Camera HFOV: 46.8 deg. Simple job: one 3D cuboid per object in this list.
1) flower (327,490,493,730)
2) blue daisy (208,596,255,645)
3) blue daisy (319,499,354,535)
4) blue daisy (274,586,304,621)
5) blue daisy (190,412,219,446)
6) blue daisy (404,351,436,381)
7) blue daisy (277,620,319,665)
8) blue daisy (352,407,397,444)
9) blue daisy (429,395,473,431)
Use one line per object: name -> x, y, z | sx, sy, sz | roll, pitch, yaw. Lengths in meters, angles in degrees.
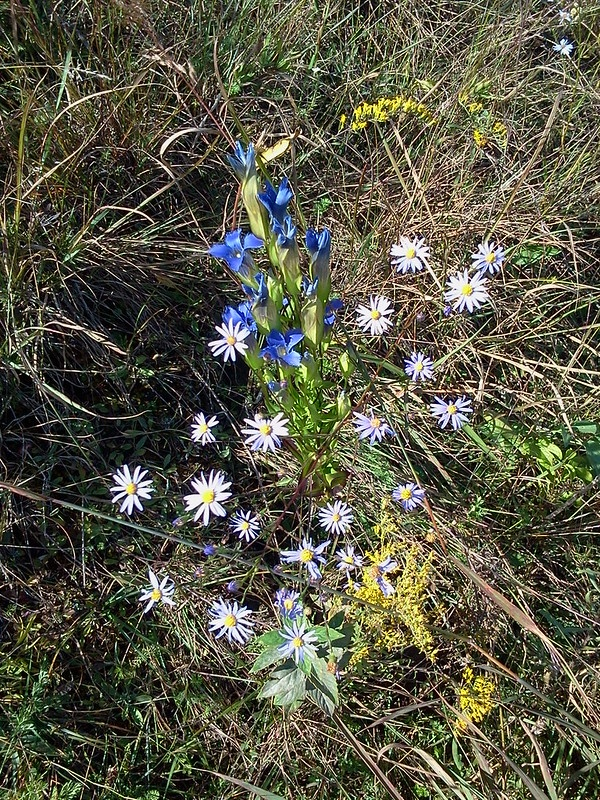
flower -> 0.251, 0.604, 1.884 | 0.315, 0.657, 0.443 | -7, 40, -4
blue daisy -> -0.170, 0.548, 1.720 | 0.095, 0.108, 0.124 | -3, 85, -1
blue daisy -> 0.097, 0.308, 1.829 | 0.098, 0.025, 0.097 | 23, 88, 19
blue daisy -> -0.027, 0.478, 1.628 | 0.042, 0.082, 0.083 | -11, 80, -45
blue daisy -> -0.245, 0.071, 1.902 | 0.106, 0.027, 0.103 | -17, 76, 37
blue daisy -> 0.342, -0.098, 1.986 | 0.081, 0.081, 0.078 | 0, 85, 0
blue daisy -> -0.007, 0.554, 1.607 | 0.091, 0.112, 0.106 | -2, 85, -1
blue daisy -> 0.188, 0.073, 1.849 | 0.107, 0.032, 0.098 | -32, 72, -15
blue daisy -> 0.407, 0.037, 1.908 | 0.100, 0.147, 0.084 | -7, 85, -1
